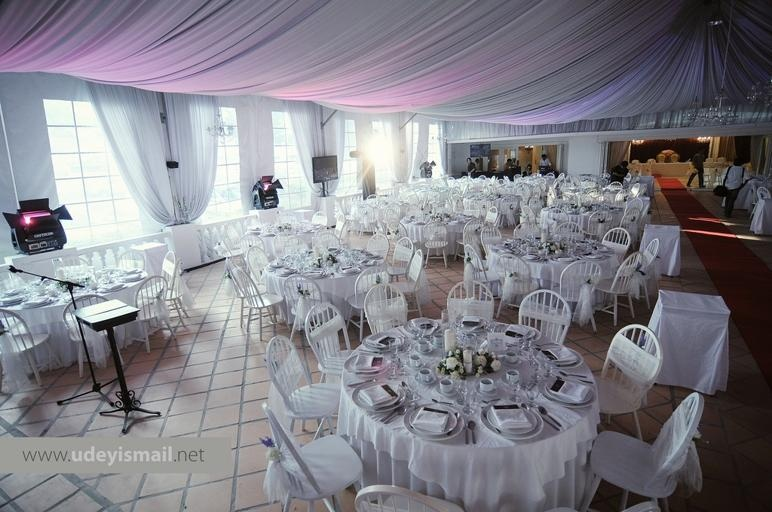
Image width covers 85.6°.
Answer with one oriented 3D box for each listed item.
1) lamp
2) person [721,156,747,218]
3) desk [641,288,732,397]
[{"bbox_3d":[-6.722,-0.580,8.266,0.905,1.175,1.205,12,20,32],"label":"lamp"},{"bbox_3d":[11.666,-2.316,14.070,0.560,1.841,1.494,8,19,39],"label":"person"},{"bbox_3d":[4.389,1.173,6.157,1.175,1.249,1.207,-1,12,2],"label":"desk"}]
